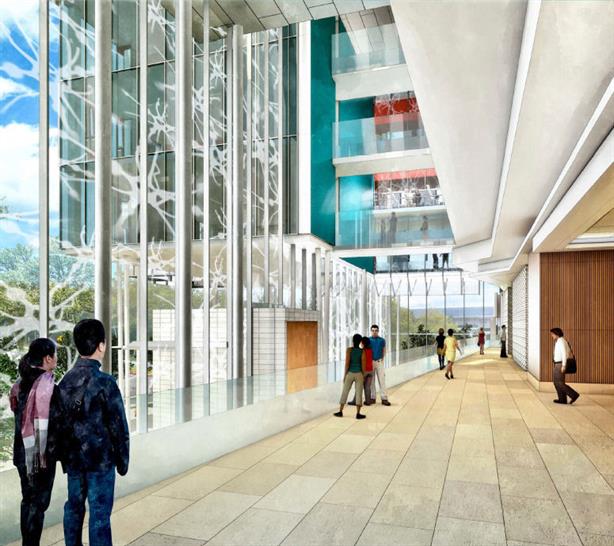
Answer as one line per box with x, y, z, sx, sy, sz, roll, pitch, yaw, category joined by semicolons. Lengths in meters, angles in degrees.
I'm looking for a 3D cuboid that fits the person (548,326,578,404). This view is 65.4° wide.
6.191;2.239;11.634;0.519;1.866;1.064;-4;-6;27;person

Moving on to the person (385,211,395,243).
3.374;-1.815;19.232;0.393;1.266;0.175;-3;-5;17;person

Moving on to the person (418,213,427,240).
4.621;-1.870;19.142;0.344;0.995;0.097;-1;-5;-12;person

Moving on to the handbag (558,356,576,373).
6.113;2.164;11.314;0.274;0.447;0.408;-2;-15;17;handbag
